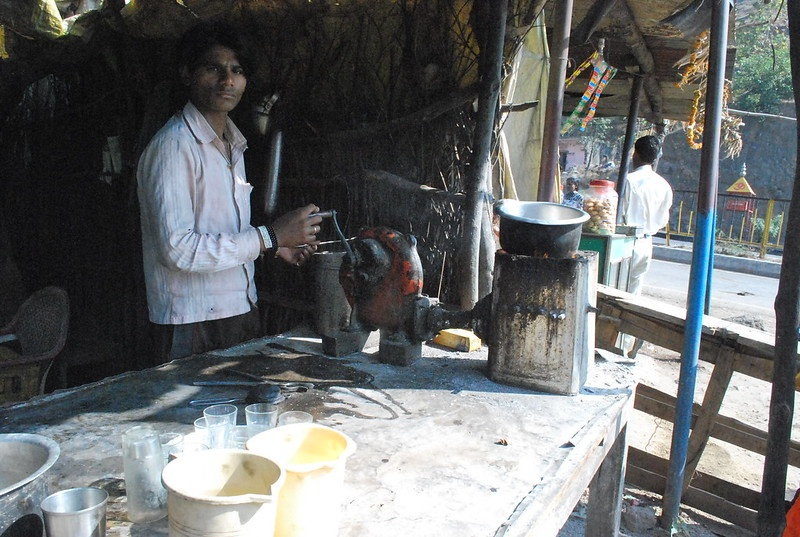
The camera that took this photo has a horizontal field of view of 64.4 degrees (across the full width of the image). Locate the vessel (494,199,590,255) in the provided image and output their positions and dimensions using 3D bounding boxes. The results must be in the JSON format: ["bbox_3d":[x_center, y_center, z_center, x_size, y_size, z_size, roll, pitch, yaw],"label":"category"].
[{"bbox_3d":[0.902,-0.262,4.190,0.448,0.210,0.431,12,11,34],"label":"vessel"}]

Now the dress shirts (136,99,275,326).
[{"bbox_3d":[-1.420,-0.377,4.500,0.778,1.571,0.604,-3,10,-22],"label":"dress shirts"}]

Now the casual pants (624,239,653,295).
[{"bbox_3d":[3.054,-0.002,8.127,0.206,0.780,0.880,4,10,24],"label":"casual pants"}]

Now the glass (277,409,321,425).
[{"bbox_3d":[-0.560,0.803,3.425,0.121,0.091,0.106,-1,-2,16],"label":"glass"}]

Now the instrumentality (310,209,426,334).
[{"bbox_3d":[-0.081,-0.015,4.672,0.802,1.164,0.844,-7,9,-43],"label":"instrumentality"}]

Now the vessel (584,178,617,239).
[{"bbox_3d":[2.263,-0.689,7.209,0.357,0.604,0.681,3,9,16],"label":"vessel"}]

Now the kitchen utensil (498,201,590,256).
[{"bbox_3d":[0.897,-0.315,4.179,0.432,0.210,0.447,-4,12,-42],"label":"kitchen utensil"}]

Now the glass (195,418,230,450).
[{"bbox_3d":[-0.987,0.873,3.347,0.133,0.142,0.168,-1,-3,2],"label":"glass"}]
